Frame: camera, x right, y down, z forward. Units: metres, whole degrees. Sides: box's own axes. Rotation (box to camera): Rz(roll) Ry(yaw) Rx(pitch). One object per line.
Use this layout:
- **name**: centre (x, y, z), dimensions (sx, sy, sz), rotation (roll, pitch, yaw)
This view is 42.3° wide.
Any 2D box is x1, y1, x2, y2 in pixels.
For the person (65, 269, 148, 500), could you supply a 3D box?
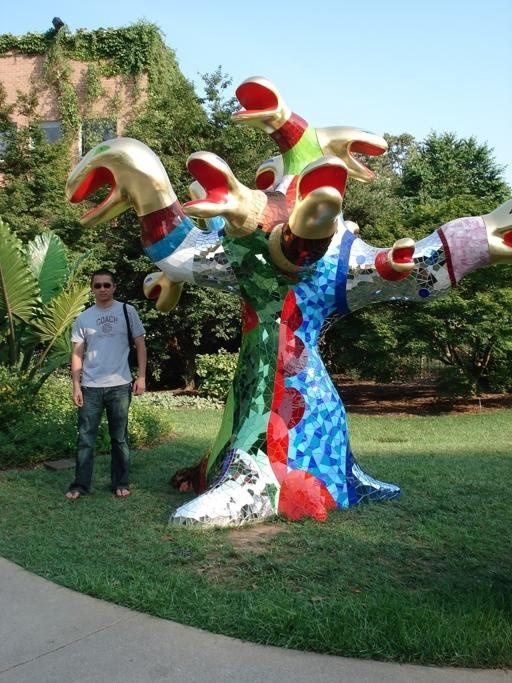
- **person**: centre (-1.163, 0.321, 5.188), dimensions (0.565, 1.676, 0.334), rotation (3, -1, -14)
